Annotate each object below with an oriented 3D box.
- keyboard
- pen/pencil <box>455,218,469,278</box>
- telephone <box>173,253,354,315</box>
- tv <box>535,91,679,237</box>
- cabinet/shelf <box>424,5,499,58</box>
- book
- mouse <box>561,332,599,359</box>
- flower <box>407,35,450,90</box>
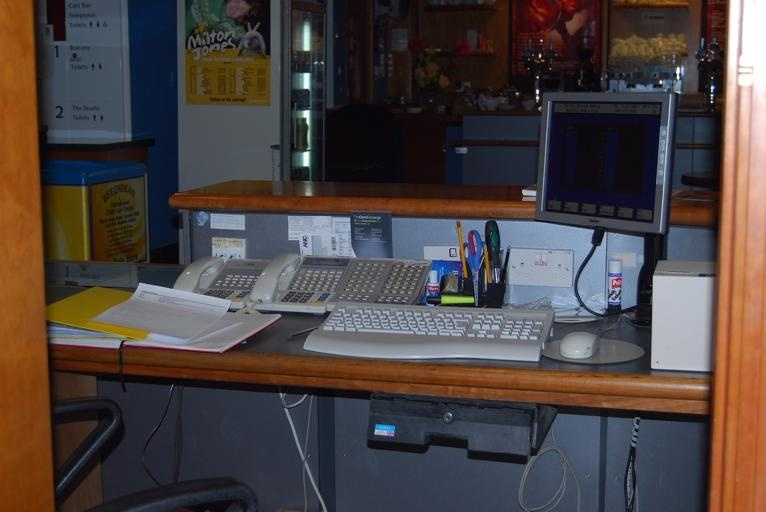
[{"bbox_3d":[0.127,0.209,1.989,0.669,0.081,0.271,2,13,10],"label":"keyboard"},{"bbox_3d":[0.255,-0.015,2.364,0.027,0.227,0.018,10,-23,-35],"label":"pen/pencil"},{"bbox_3d":[-0.364,0.088,2.339,0.396,0.094,0.230,3,13,16],"label":"telephone"},{"bbox_3d":[0.676,-0.284,2.158,0.434,0.406,0.059,6,6,37],"label":"tv"},{"bbox_3d":[1.035,-2.904,9.200,1.261,0.803,0.670,1,16,3],"label":"cabinet/shelf"},{"bbox_3d":[-0.634,0.187,2.089,0.382,0.049,0.234,6,17,15],"label":"book"},{"bbox_3d":[0.528,0.238,1.919,0.116,0.051,0.083,0,13,-1],"label":"mouse"},{"bbox_3d":[0.518,-2.170,8.098,0.473,0.585,1.402,1,13,4],"label":"flower"}]
